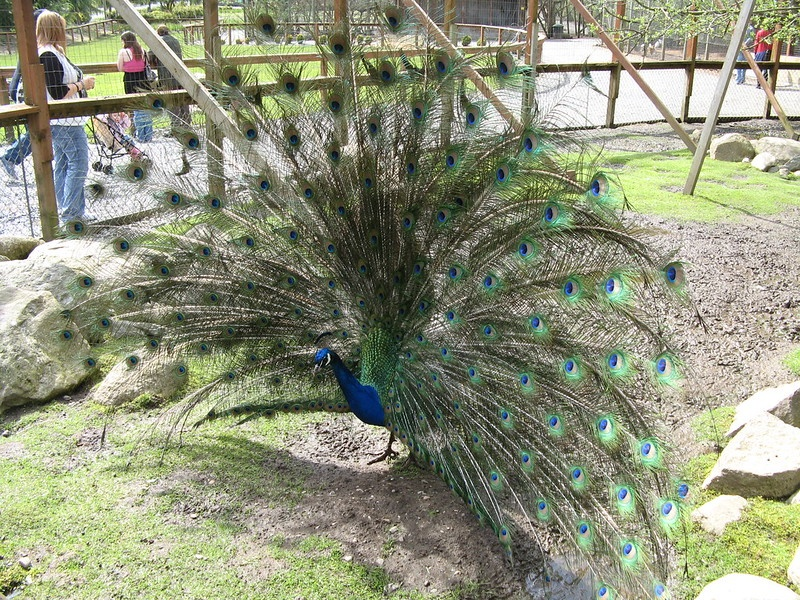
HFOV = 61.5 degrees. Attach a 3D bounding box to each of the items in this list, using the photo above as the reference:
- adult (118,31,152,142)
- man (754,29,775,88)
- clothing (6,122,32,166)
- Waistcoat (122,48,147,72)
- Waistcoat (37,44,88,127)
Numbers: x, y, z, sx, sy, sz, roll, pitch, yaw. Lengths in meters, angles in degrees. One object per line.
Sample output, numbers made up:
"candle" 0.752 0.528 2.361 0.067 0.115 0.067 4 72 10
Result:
"adult" -3.977 -3.217 10.233 0.414 1.728 0.410 -9 0 -20
"man" 10.074 -6.863 18.482 0.418 1.762 0.339 7 16 32
"clothing" -4.700 -1.967 8.283 0.533 0.147 0.174 -48 42 -5
"Waistcoat" -4.012 -3.674 10.174 0.277 0.295 0.166 -5 24 -7
"Waistcoat" -4.457 -2.980 8.916 0.474 1.008 0.794 -8 34 -18
